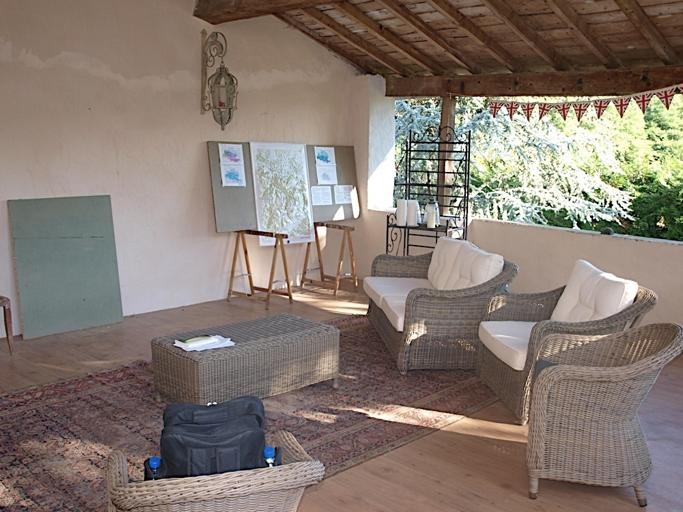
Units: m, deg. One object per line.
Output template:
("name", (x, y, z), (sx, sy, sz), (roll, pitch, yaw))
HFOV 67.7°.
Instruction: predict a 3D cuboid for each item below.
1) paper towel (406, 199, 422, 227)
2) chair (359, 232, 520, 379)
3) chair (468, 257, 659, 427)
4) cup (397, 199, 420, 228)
("paper towel", (0.967, -0.580, 6.859), (0.188, 0.351, 0.296), (3, 14, 12))
("chair", (0.916, 0.395, 5.231), (1.148, 0.923, 1.742), (-4, 11, -7))
("chair", (1.685, 0.609, 3.909), (1.214, 0.878, 0.965), (-9, 15, -16))
("cup", (0.887, -0.570, 6.823), (0.381, 0.377, 0.356), (0, 9, 0))
